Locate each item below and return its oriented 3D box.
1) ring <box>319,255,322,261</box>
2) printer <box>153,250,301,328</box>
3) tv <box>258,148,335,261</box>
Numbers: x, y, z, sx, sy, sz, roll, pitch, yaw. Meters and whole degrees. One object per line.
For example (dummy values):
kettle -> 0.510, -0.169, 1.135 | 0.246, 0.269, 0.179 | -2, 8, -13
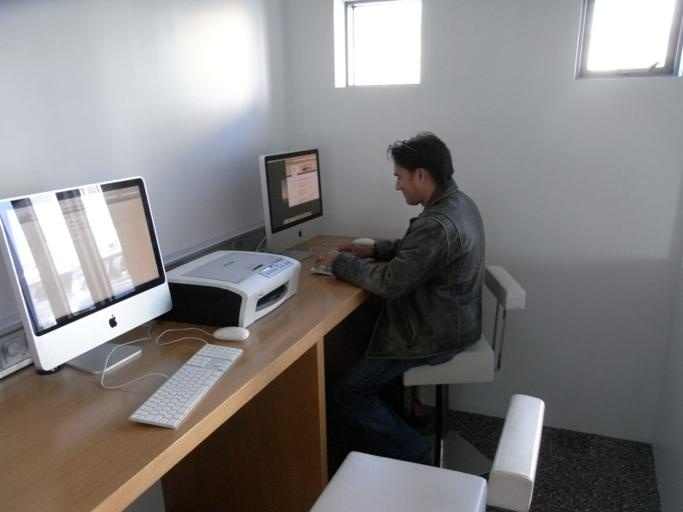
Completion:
ring -> -0.097, 0.009, 2.259 | 0.016, 0.016, 0.004 | 3, -10, 40
printer -> -0.437, 0.112, 1.830 | 0.301, 0.139, 0.339 | 6, 20, 16
tv -> -0.250, -0.268, 2.544 | 0.156, 0.503, 0.505 | 4, 22, 19
